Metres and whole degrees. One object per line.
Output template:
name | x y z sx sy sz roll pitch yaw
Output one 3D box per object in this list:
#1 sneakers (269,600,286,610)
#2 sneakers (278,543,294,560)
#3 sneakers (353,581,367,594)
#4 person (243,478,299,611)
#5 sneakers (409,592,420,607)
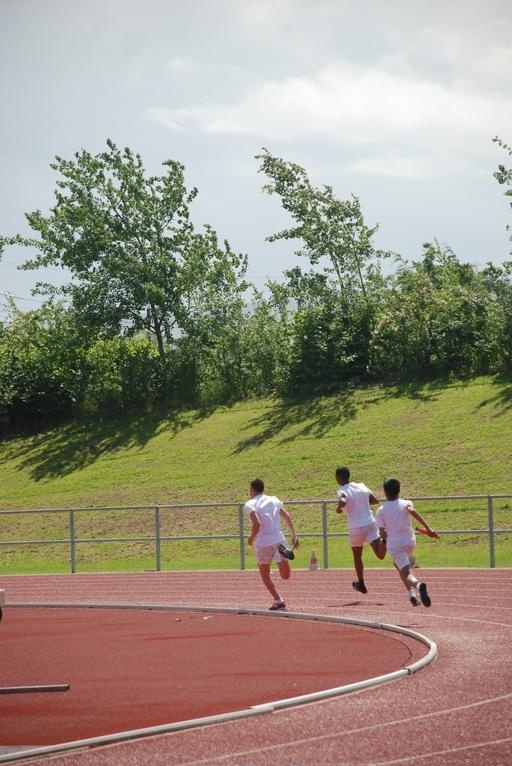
sneakers | 0.263 2.574 11.865 0.241 0.091 0.088 -1 2 7
sneakers | 0.377 1.936 11.688 0.107 0.235 0.098 -28 -26 -30
sneakers | 1.262 2.495 12.505 0.177 0.133 0.384 1 -10 -3
person | 0.222 1.957 11.961 0.523 1.698 0.778 -13 10 -1
sneakers | 1.703 2.330 11.026 0.101 0.123 0.296 -9 6 2
